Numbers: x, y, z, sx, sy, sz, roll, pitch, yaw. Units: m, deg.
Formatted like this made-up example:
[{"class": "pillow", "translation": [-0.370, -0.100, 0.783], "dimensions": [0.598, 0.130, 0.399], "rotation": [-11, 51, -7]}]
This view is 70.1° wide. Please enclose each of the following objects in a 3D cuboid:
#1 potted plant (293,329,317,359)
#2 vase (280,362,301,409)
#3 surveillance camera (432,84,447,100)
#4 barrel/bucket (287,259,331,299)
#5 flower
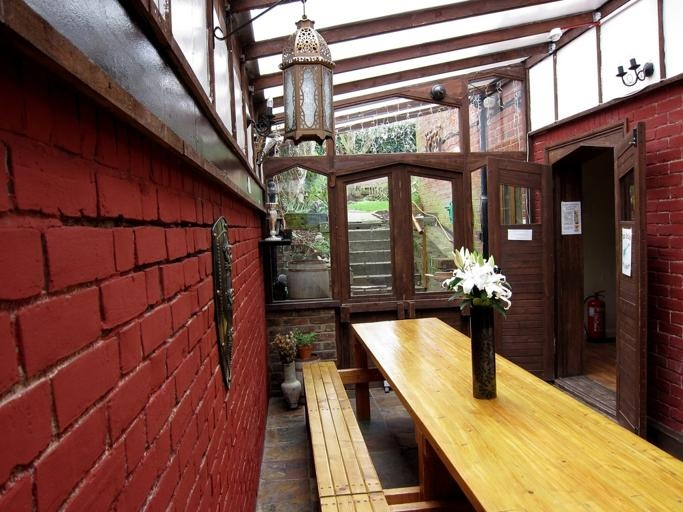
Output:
[{"class": "potted plant", "translation": [-0.415, 0.985, 5.484], "dimensions": [0.280, 0.337, 0.241], "rotation": [1, -5, -17]}, {"class": "vase", "translation": [-0.524, 1.368, 5.203], "dimensions": [0.217, 0.501, 0.211], "rotation": [-3, 4, -34]}, {"class": "surveillance camera", "translation": [1.168, -1.964, 5.864], "dimensions": [0.179, 0.186, 0.056], "rotation": [-1, 4, -6]}, {"class": "barrel/bucket", "translation": [-0.376, 0.292, 5.740], "dimensions": [0.415, 0.455, 0.439], "rotation": [-1, 1, 0]}, {"class": "flower", "translation": [0.695, 0.125, 2.507], "dimensions": [0.311, 0.331, 0.438], "rotation": [1, 4, 25]}]
